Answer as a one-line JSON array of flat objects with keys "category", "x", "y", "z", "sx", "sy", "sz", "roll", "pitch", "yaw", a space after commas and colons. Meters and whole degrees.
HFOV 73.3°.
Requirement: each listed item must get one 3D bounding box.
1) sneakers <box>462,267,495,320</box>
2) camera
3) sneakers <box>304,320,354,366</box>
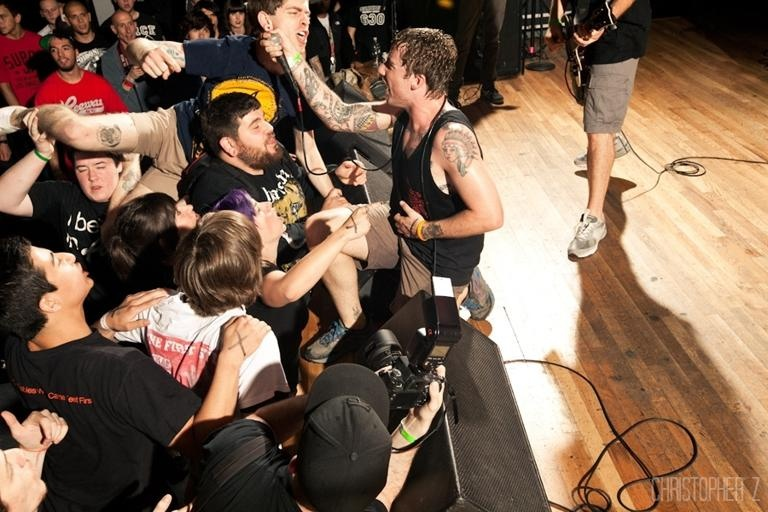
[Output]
[{"category": "sneakers", "x": 0.694, "y": 0.241, "z": 3.441, "sx": 0.160, "sy": 0.293, "sz": 0.299, "roll": 5, "pitch": 69, "yaw": 1}, {"category": "camera", "x": 0.106, "y": 0.430, "z": 2.211, "sx": 0.283, "sy": 0.562, "sz": 0.327, "roll": 25, "pitch": 6, "yaw": -47}, {"category": "sneakers", "x": -0.310, "y": 0.524, "z": 3.272, "sx": 0.419, "sy": 0.201, "sz": 0.174, "roll": -18, "pitch": 30, "yaw": -29}]
